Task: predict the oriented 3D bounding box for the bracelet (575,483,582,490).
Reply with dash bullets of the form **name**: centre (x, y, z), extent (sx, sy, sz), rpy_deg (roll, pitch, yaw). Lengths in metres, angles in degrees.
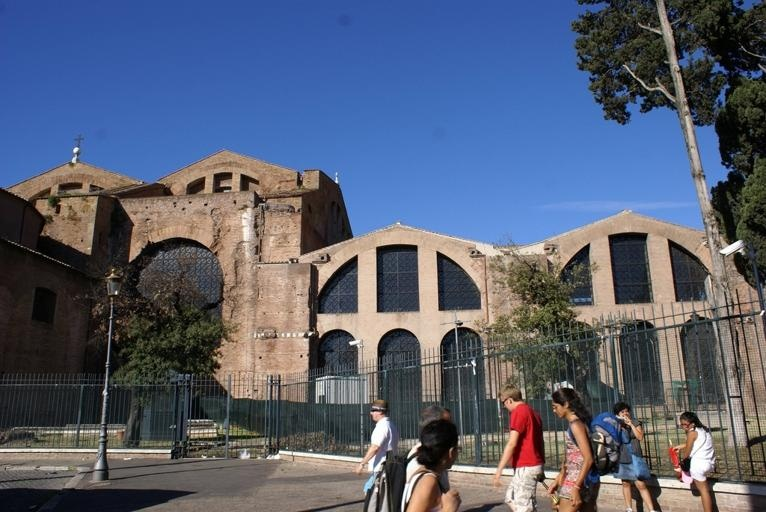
- **bracelet**: centre (3.201, 3.771, 9.658), extent (0.111, 0.083, 0.111), rpy_deg (0, -4, -11)
